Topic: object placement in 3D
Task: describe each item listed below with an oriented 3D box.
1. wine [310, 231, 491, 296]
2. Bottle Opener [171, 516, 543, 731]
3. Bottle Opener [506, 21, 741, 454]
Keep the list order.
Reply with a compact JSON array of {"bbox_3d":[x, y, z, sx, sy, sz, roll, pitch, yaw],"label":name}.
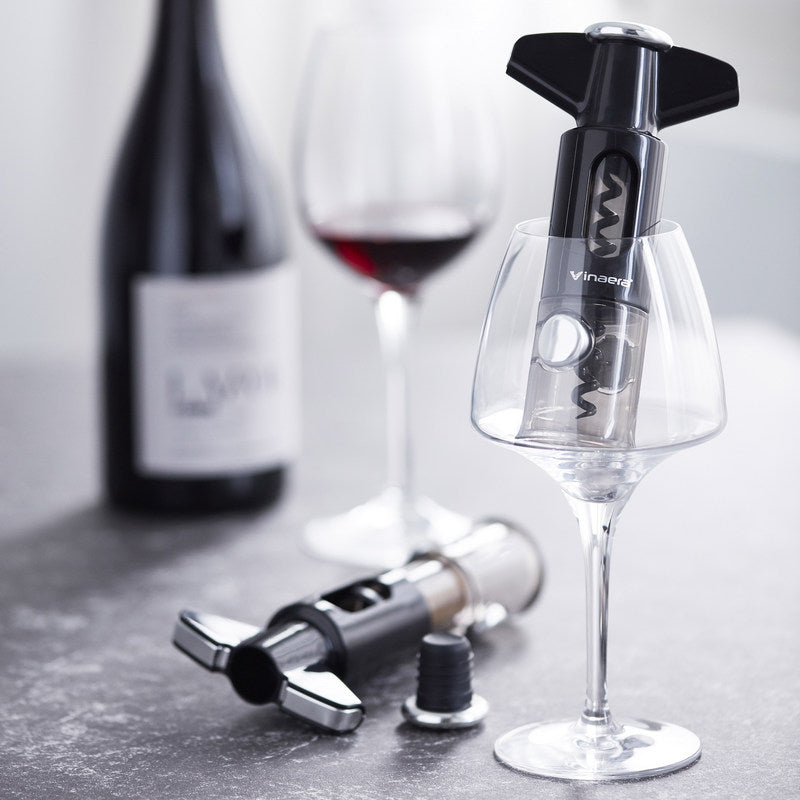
[{"bbox_3d":[-0.017,-0.083,0.655,0.055,0.023,0.055,30,38,14],"label":"wine"},{"bbox_3d":[-0.006,0.098,0.485,0.075,0.038,0.140,-13,-1,37],"label":"Bottle Opener"},{"bbox_3d":[0.079,-0.066,0.391,0.090,0.155,0.082,2,15,15],"label":"Bottle Opener"}]
